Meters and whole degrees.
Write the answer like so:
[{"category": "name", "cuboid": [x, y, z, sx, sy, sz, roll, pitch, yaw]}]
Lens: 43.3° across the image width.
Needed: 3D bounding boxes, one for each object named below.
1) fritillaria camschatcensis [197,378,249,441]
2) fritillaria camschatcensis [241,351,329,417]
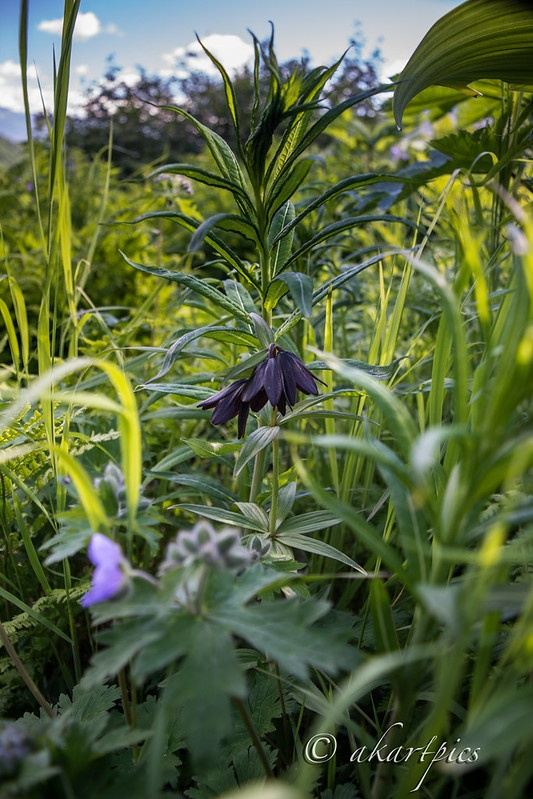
[{"category": "fritillaria camschatcensis", "cuboid": [-0.068, 0.003, 1.066, 0.057, 0.075, 0.057, 18, 21, 24]}, {"category": "fritillaria camschatcensis", "cuboid": [0.024, -0.040, 1.045, 0.119, 0.081, 0.093, -8, 3, -7]}]
